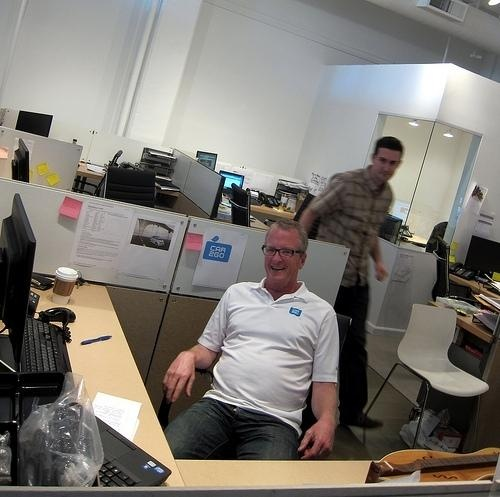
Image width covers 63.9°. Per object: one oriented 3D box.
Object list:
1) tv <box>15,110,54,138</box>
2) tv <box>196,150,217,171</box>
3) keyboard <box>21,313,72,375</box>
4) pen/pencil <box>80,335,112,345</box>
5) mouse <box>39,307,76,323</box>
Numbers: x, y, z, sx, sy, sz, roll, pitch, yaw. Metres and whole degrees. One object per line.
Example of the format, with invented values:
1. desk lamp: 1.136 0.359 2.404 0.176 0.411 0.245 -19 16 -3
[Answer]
1. tv: -2.582 -1.508 4.779 0.405 0.244 0.295 10 10 -18
2. tv: -0.653 -1.322 5.924 0.299 0.221 0.415 14 10 5
3. keyboard: -0.699 0.343 1.377 0.117 0.385 0.054 13 44 -11
4. pen/pencil: -0.591 0.356 1.552 0.116 0.015 0.026 -11 18 -31
5. mouse: -0.758 0.251 1.580 0.106 0.055 0.064 10 14 -47
